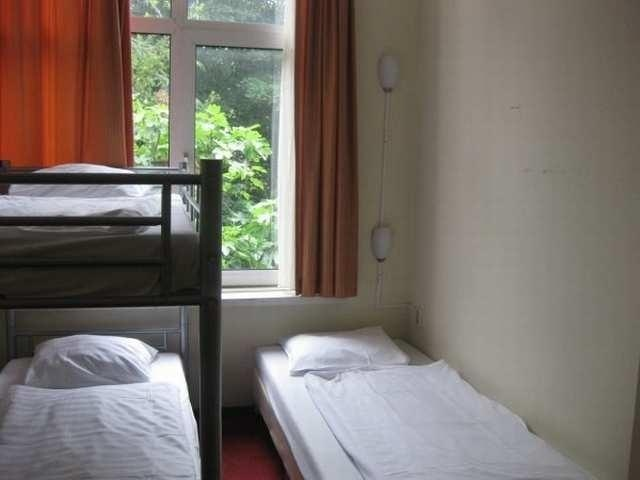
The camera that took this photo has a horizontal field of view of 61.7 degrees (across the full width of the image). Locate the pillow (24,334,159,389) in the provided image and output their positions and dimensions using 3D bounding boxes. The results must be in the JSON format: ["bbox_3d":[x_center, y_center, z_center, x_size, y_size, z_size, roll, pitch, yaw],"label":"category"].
[{"bbox_3d":[-1.136,0.623,2.691,0.356,0.116,0.325,4,13,-21],"label":"pillow"}]

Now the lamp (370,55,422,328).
[{"bbox_3d":[0.479,-0.315,3.460,0.299,1.706,0.270,3,13,-1],"label":"lamp"}]
